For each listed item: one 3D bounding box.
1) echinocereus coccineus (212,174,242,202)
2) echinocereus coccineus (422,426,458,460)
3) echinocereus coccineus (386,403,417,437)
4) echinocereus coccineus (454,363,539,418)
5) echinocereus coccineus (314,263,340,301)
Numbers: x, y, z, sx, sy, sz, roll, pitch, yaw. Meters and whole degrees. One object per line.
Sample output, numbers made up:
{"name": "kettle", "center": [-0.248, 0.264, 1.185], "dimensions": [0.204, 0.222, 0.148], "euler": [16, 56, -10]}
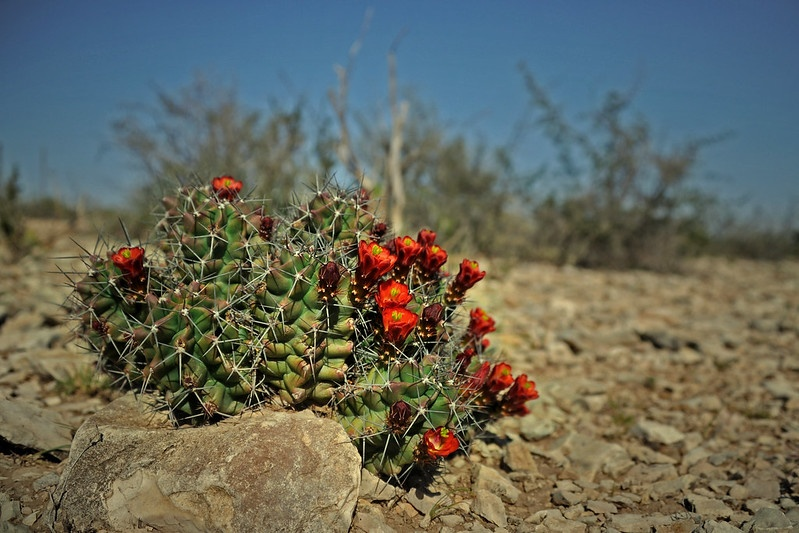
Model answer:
{"name": "echinocereus coccineus", "center": [-1.588, -0.733, 6.057], "dimensions": [0.241, 0.181, 0.243], "euler": [-5, 32, -23]}
{"name": "echinocereus coccineus", "center": [0.337, 1.447, 5.480], "dimensions": [0.235, 0.173, 0.260], "euler": [23, -19, -20]}
{"name": "echinocereus coccineus", "center": [-0.012, 1.236, 5.450], "dimensions": [0.193, 0.269, 0.251], "euler": [10, 21, -15]}
{"name": "echinocereus coccineus", "center": [0.867, 1.088, 5.834], "dimensions": [0.568, 0.392, 0.559], "euler": [42, -1, 23]}
{"name": "echinocereus coccineus", "center": [-0.588, 0.122, 5.543], "dimensions": [0.184, 0.296, 0.110], "euler": [5, 12, 8]}
